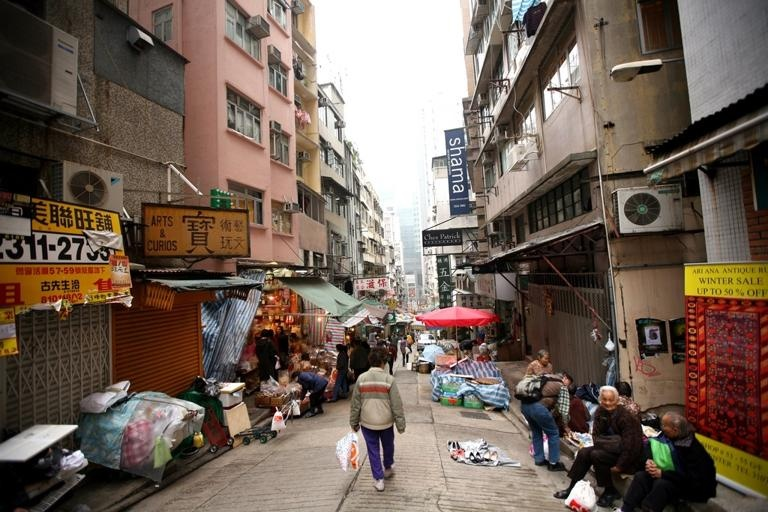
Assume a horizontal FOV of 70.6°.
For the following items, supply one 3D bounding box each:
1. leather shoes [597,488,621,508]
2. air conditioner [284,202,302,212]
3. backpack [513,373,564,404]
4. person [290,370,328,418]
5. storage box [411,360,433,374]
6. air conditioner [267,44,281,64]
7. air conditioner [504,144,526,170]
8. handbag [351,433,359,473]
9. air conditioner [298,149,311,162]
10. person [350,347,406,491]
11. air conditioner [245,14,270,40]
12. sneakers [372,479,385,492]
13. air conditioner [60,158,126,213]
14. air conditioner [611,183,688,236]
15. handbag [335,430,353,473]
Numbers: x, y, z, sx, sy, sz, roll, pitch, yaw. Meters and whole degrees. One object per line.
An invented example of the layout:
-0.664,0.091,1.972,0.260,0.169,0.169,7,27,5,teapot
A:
4.422,4.701,10.578,0.599,0.263,0.221,-15,-18,-36,leather shoes
-3.490,-1.865,20.471,0.633,0.360,0.433,-7,12,-28,air conditioner
3.325,2.783,11.756,0.822,0.345,0.600,-6,-8,-44,backpack
-1.976,3.716,15.065,0.671,1.133,0.616,9,15,43,person
1.493,4.167,20.527,0.802,0.433,1.054,1,-10,-2,storage box
-4.150,-7.620,20.561,0.366,0.620,0.848,3,12,23,air conditioner
4.333,-3.164,17.403,0.436,0.855,1.189,-1,11,-1,air conditioner
-0.585,3.868,10.850,0.129,0.628,0.281,1,11,11,handbag
-3.984,-4.886,27.083,0.474,0.669,0.926,-3,-5,7,air conditioner
-0.125,3.264,11.043,1.075,2.606,1.047,-3,11,-8,person
-4.450,-7.945,19.037,0.516,0.497,0.785,-8,-13,10,air conditioner
-0.067,4.529,10.843,0.226,0.212,0.202,-3,11,-9,sneakers
-6.545,-1.553,12.055,0.465,0.979,1.268,-6,-10,27,air conditioner
6.302,-1.015,12.996,1.704,1.374,1.040,-1,-6,9,air conditioner
-0.783,3.939,10.884,0.159,0.701,0.529,3,8,-13,handbag
